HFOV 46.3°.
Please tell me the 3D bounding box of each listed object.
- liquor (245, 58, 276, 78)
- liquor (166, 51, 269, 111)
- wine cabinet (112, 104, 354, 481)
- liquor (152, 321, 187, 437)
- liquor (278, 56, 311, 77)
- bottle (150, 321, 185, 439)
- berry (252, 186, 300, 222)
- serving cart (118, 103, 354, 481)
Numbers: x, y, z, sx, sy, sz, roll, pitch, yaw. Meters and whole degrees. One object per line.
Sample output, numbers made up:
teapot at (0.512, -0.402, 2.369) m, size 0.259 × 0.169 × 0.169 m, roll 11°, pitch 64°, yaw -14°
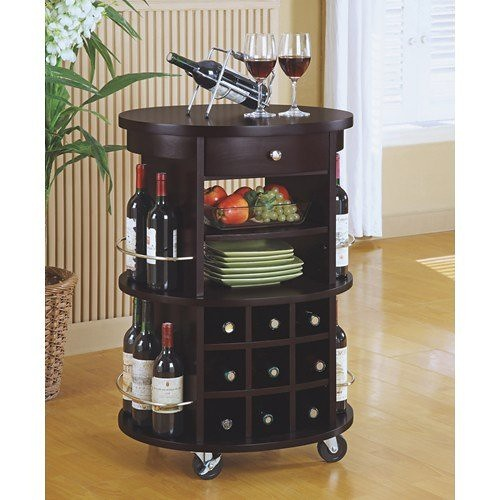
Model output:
liquor at (0.027, -0.494, 1.607) m, size 0.064 × 0.062 × 0.058 m, roll 0°, pitch 11°, yaw 0°
liquor at (-0.120, -0.493, 1.708) m, size 0.141 × 0.174 × 0.241 m, roll -16°, pitch 5°, yaw 0°
wine cabinet at (-0.075, 0.130, 1.828) m, size 0.720 × 0.908 × 0.648 m, roll 1°, pitch 0°, yaw -11°
liquor at (-0.236, 0.352, 1.657) m, size 0.095 × 0.326 × 0.158 m, roll -3°, pitch 15°, yaw -8°
liquor at (0.133, -0.508, 1.642) m, size 0.071 × 0.046 × 0.067 m, roll -1°, pitch 8°, yaw -4°
bottle at (-0.237, 0.352, 1.657) m, size 0.096 × 0.326 × 0.158 m, roll -3°, pitch 15°, yaw -8°
berry at (0.067, -0.121, 1.629) m, size 0.110 × 0.036 × 0.112 m, roll -3°, pitch 38°, yaw -3°
serving cart at (-0.041, 0.127, 1.707) m, size 0.725 × 1.043 × 0.462 m, roll -4°, pitch 15°, yaw -13°
